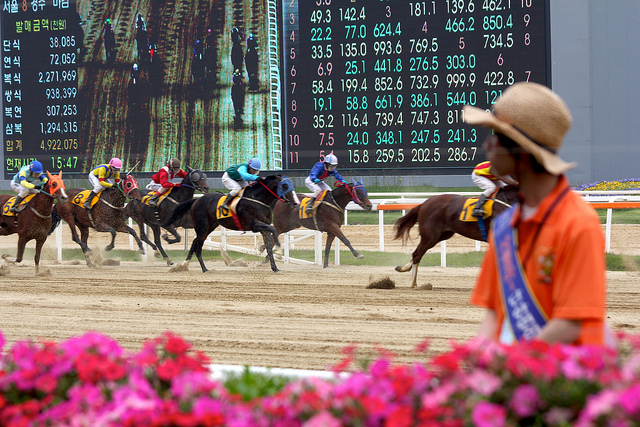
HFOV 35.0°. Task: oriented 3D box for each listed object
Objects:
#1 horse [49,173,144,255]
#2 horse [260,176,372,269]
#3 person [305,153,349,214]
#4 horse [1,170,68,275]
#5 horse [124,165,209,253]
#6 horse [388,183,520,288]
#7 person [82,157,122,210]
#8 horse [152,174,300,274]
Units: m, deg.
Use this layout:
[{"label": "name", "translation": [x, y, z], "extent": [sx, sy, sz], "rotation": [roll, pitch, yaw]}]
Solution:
[{"label": "horse", "translation": [-4.564, 0.052, 20.036], "extent": [2.945, 1.774, 0.673], "rotation": [2, 7, 34]}, {"label": "horse", "translation": [-0.125, 0.167, 19.104], "extent": [2.285, 1.726, 0.595], "rotation": [0, -1, 28]}, {"label": "person", "translation": [0.058, -0.591, 19.261], "extent": [0.648, 1.122, 0.664], "rotation": [4, 7, -29]}, {"label": "horse", "translation": [-5.835, 0.018, 19.250], "extent": [2.917, 2.006, 0.681], "rotation": [0, -3, 43]}, {"label": "horse", "translation": [-3.144, -0.021, 20.217], "extent": [0.614, 1.841, 2.454], "rotation": [6, -8, -44]}, {"label": "horse", "translation": [1.992, 0.108, 16.583], "extent": [3.337, 1.905, 1.516], "rotation": [-1, 0, 14]}, {"label": "person", "translation": [-4.178, -0.605, 19.749], "extent": [0.680, 1.102, 0.518], "rotation": [16, 14, -4]}, {"label": "horse", "translation": [-1.578, 0.107, 18.622], "extent": [2.399, 1.695, 0.652], "rotation": [2, 6, 19]}]
